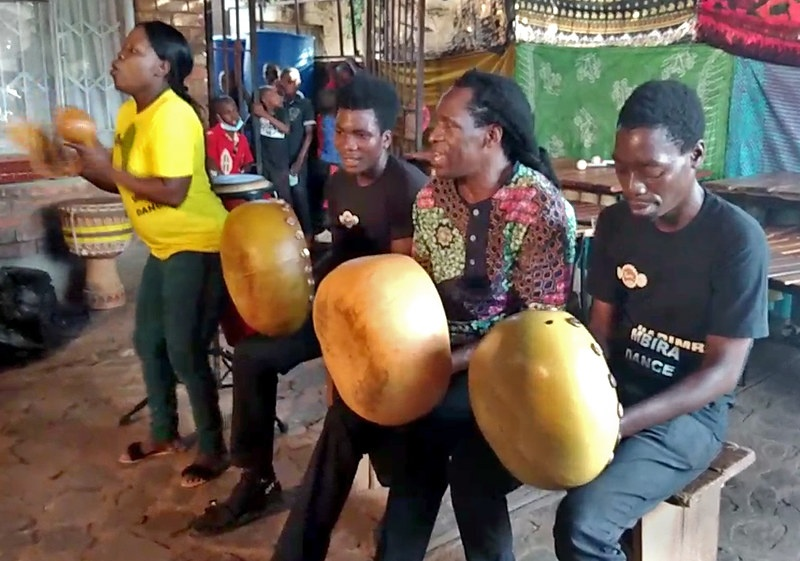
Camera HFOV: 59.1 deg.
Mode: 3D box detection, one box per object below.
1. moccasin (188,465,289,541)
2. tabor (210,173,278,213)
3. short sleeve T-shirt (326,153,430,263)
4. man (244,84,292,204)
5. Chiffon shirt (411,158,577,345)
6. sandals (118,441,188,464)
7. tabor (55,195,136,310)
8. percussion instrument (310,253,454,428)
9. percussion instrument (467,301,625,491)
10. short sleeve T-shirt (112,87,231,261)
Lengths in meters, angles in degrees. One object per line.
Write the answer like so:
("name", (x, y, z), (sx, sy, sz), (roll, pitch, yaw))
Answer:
("moccasin", (-0.875, 1.169, 3.964), (0.658, 0.329, 0.233), (-14, 17, 0))
("tabor", (-0.999, -0.561, 4.472), (0.338, 0.162, 0.351), (15, 29, 29))
("short sleeve T-shirt", (-0.116, -0.375, 3.789), (0.461, 0.463, 0.263), (24, 33, 35))
("man", (-1.346, -1.412, 7.796), (0.418, 1.557, 0.378), (-8, 40, -5))
("Chiffon shirt", (0.436, -0.118, 3.248), (0.638, 0.672, 0.371), (20, 34, 34))
("sandals", (-1.552, 1.091, 4.454), (0.393, 0.105, 0.142), (-5, 49, -12))
("tabor", (-2.816, -0.251, 6.440), (0.768, 1.009, 0.796), (-13, 20, -34))
("percussion instrument", (-0.052, 0.152, 3.091), (0.653, 0.708, 0.644), (21, 25, 40))
("percussion instrument", (0.609, 0.508, 2.891), (0.505, 0.707, 0.558), (-28, -1, 37))
("short sleeve T-shirt", (-1.340, -0.601, 4.204), (0.644, 1.033, 0.884), (-12, 20, -31))
